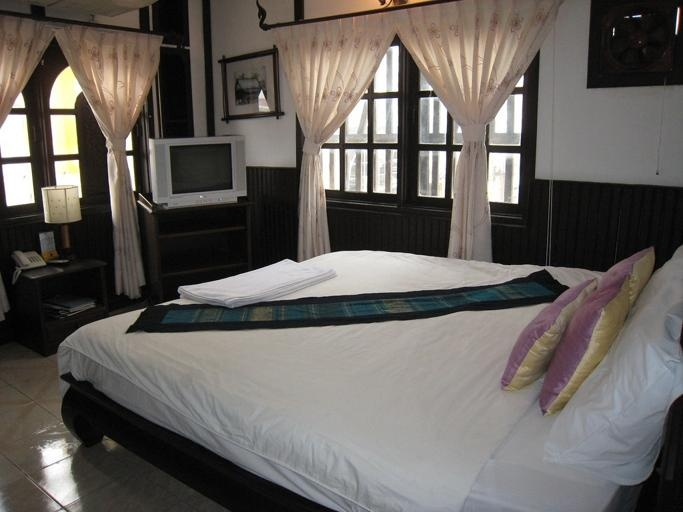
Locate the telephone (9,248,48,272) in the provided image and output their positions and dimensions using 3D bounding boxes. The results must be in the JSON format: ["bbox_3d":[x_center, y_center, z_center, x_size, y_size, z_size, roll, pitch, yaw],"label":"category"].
[{"bbox_3d":[-2.428,-0.014,3.730,0.187,0.080,0.156,32,27,23],"label":"telephone"}]

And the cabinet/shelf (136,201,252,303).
[{"bbox_3d":[-1.286,-0.006,4.509,0.781,1.138,0.637,-6,18,-19],"label":"cabinet/shelf"}]

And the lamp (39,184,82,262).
[{"bbox_3d":[-2.239,-0.271,3.893,0.258,0.596,0.346,-8,11,-33],"label":"lamp"}]

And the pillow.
[{"bbox_3d":[0.956,0.287,1.928,0.660,0.484,0.339,-10,12,-40],"label":"pillow"}]

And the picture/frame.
[{"bbox_3d":[-0.881,-1.726,4.790,0.739,0.632,0.050,13,23,38],"label":"picture/frame"}]

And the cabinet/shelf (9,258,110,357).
[{"bbox_3d":[-2.238,0.381,3.896,0.479,0.632,0.584,9,16,30],"label":"cabinet/shelf"}]
